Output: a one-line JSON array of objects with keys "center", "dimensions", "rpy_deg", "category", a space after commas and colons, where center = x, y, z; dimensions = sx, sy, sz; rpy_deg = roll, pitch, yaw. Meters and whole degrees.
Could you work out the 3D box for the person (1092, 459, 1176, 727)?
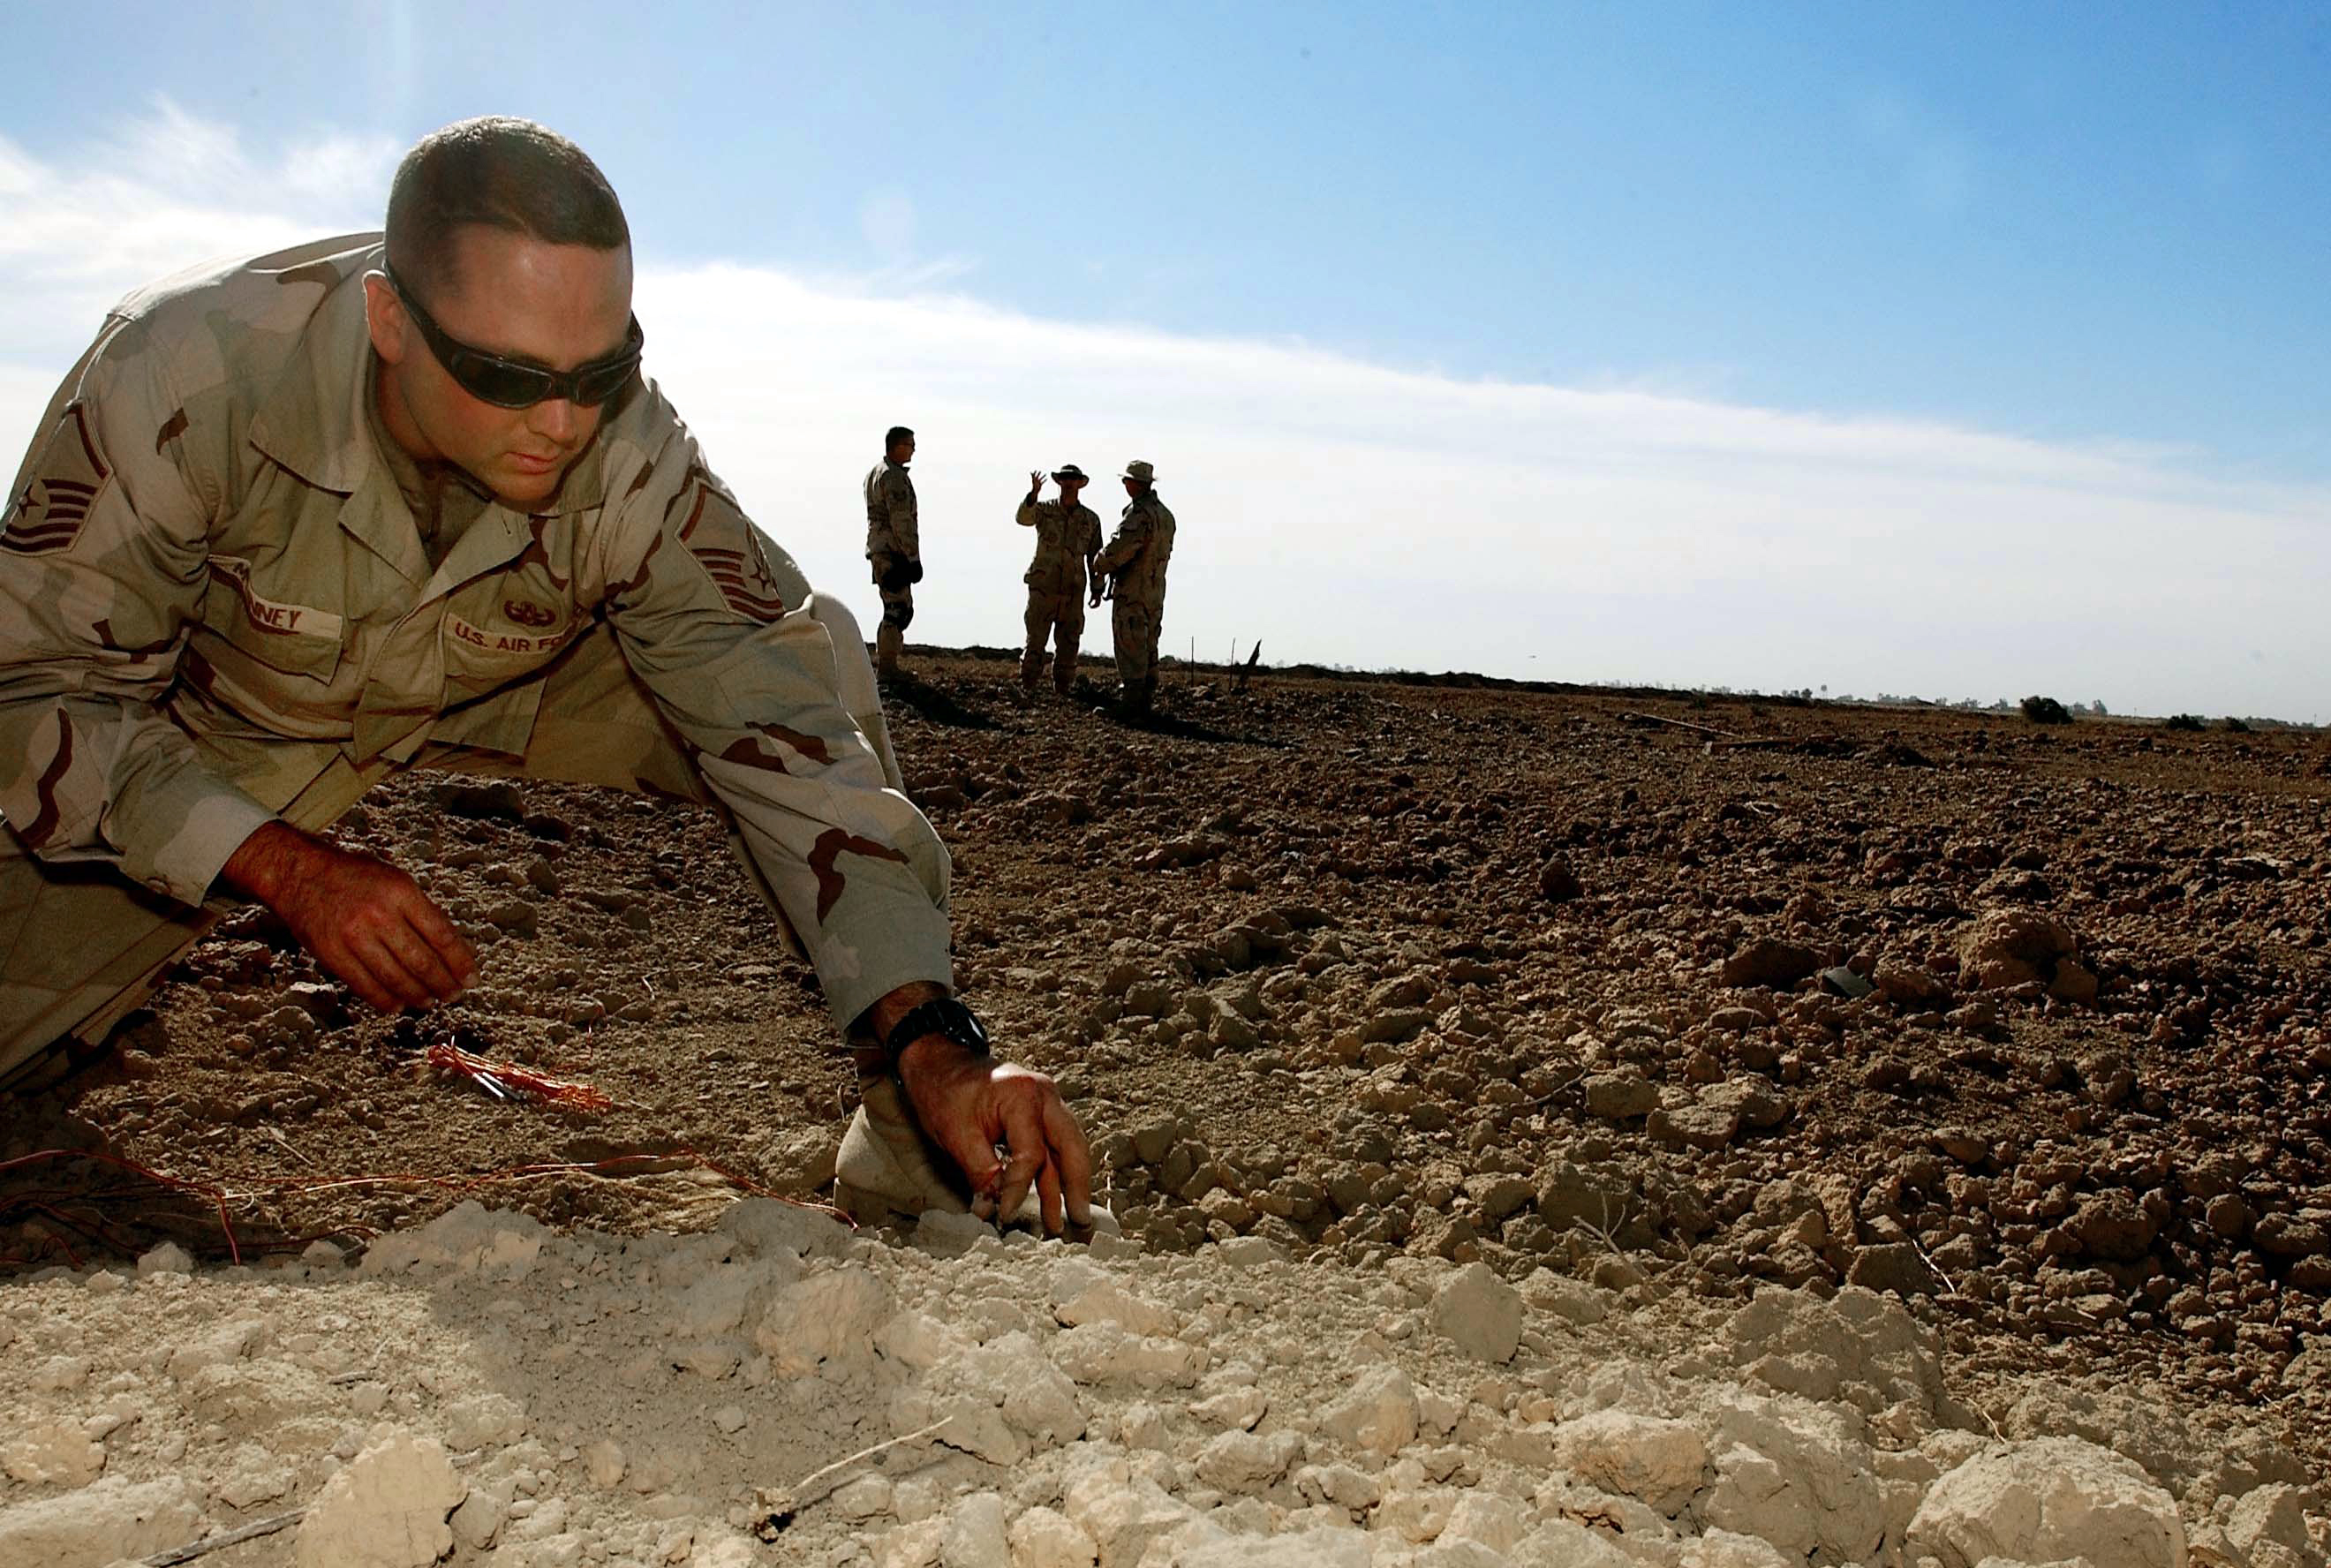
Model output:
[{"center": [-0.240, -1.482, 12.533], "dimensions": [0.559, 1.877, 1.407], "rpy_deg": [-1, 11, -2], "category": "person"}]
